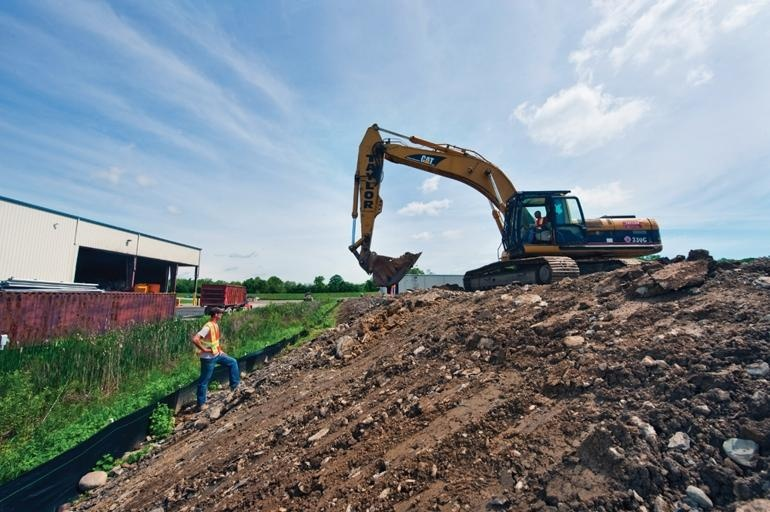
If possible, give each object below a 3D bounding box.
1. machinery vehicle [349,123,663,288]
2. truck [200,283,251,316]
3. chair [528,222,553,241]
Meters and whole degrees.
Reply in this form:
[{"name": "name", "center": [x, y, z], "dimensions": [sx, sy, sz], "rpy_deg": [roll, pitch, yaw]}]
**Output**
[{"name": "machinery vehicle", "center": [3.766, -1.431, 13.027], "dimensions": [9.323, 4.984, 3.577], "rpy_deg": [1, 2, -1]}, {"name": "truck", "center": [-11.526, 3.208, 29.004], "dimensions": [2.170, 2.229, 4.131], "rpy_deg": [-1, -2, 10]}, {"name": "chair", "center": [4.648, -0.698, 11.854], "dimensions": [0.587, 0.609, 0.477], "rpy_deg": [1, -2, 19]}]
